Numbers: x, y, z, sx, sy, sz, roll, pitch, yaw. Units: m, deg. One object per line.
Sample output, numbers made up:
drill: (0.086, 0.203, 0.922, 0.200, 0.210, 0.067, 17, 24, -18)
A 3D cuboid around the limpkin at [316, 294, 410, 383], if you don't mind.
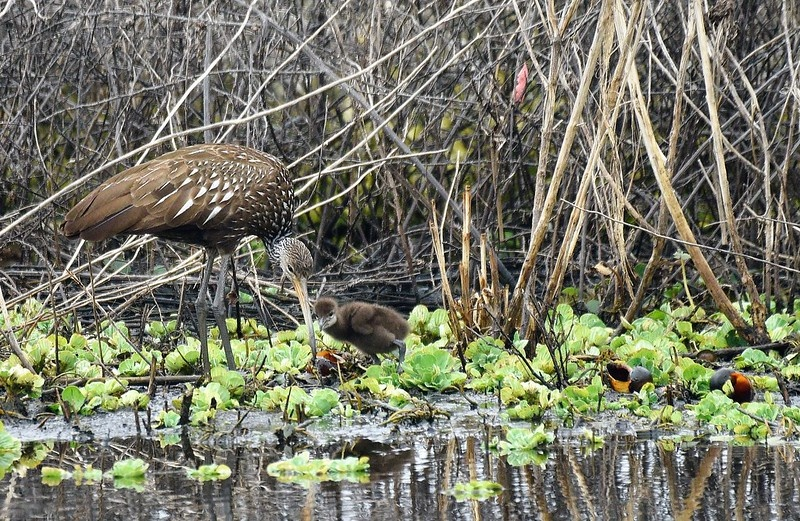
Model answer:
limpkin: (-0.330, 0.535, 8.078, 0.688, 0.706, 0.463, -22, 7, -7)
